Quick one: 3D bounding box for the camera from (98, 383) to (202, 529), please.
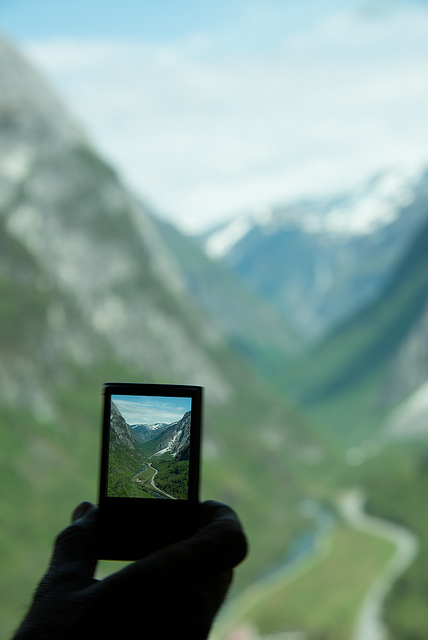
[{"bbox_3d":[-0.098,0.208,0.958,0.156,0.194,0.122,-1,16,0],"label":"camera"}]
